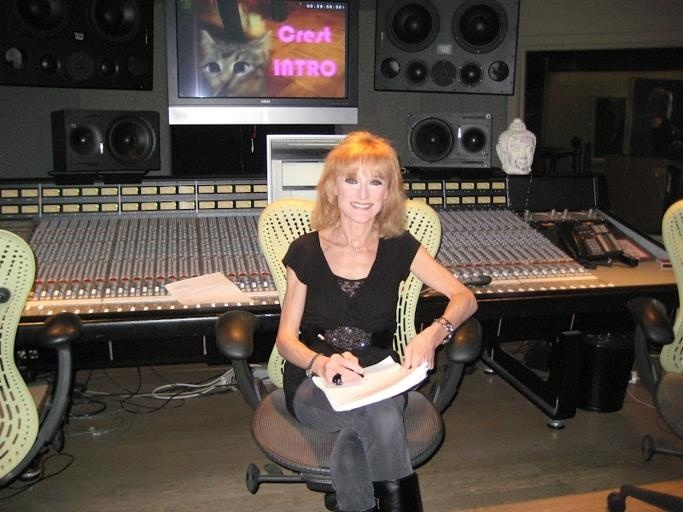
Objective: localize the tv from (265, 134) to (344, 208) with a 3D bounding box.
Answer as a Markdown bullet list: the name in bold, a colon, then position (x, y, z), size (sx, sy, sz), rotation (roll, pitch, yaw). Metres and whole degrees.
- **tv**: position (-0.274, -0.394, 2.901), size (0.264, 0.448, 0.475), rotation (5, 12, 42)

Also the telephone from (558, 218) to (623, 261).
- **telephone**: position (1.207, -0.123, 2.776), size (0.312, 0.108, 0.414), rotation (1, -24, 13)

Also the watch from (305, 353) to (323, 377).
- **watch**: position (-0.102, 0.367, 1.857), size (0.021, 0.073, 0.073), rotation (29, 56, 23)

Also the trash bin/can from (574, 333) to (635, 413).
- **trash bin/can**: position (1.541, 0.685, 3.070), size (0.395, 0.422, 0.397), rotation (5, -8, 29)

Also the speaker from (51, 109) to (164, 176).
- **speaker**: position (-1.229, -0.631, 2.822), size (0.487, 0.318, 0.274), rotation (-12, 28, -43)

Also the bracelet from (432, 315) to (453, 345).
- **bracelet**: position (0.366, 0.273, 1.938), size (0.064, 0.095, 0.055), rotation (6, 18, 27)

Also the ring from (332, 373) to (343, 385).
- **ring**: position (-0.015, 0.409, 1.782), size (0.036, 0.032, 0.022), rotation (-9, 17, -21)

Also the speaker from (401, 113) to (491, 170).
- **speaker**: position (0.602, -0.647, 3.156), size (0.490, 0.326, 0.272), rotation (1, -3, 2)
